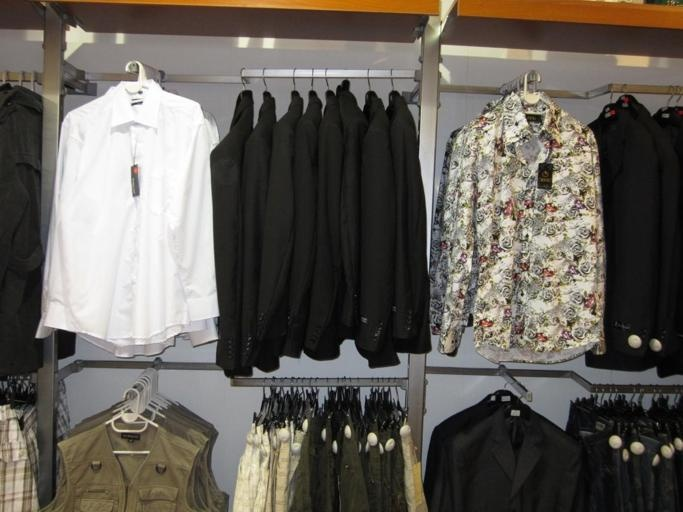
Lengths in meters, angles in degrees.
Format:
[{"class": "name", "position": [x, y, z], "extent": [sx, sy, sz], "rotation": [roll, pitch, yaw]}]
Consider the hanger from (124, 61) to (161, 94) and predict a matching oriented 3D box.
[{"class": "hanger", "position": [-0.894, -0.790, 3.227], "extent": [0.127, 0.096, 0.210], "rotation": [8, 6, -33]}]
